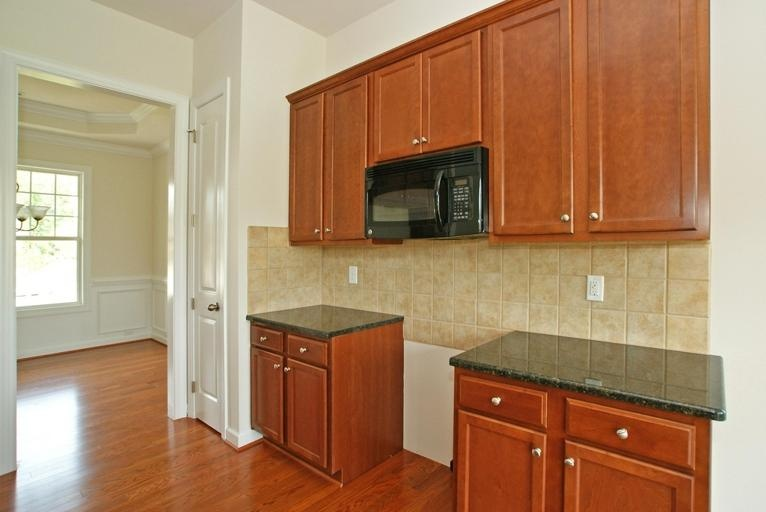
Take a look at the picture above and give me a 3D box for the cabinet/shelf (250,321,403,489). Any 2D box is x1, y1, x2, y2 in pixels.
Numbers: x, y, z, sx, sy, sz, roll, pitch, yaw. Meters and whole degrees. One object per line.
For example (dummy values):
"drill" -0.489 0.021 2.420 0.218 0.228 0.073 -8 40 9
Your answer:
"cabinet/shelf" -0.478 1.067 4.715 1.202 1.048 0.980 1 4 35

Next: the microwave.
"microwave" 0.322 -0.399 4.225 0.975 0.581 0.541 -2 -3 31
